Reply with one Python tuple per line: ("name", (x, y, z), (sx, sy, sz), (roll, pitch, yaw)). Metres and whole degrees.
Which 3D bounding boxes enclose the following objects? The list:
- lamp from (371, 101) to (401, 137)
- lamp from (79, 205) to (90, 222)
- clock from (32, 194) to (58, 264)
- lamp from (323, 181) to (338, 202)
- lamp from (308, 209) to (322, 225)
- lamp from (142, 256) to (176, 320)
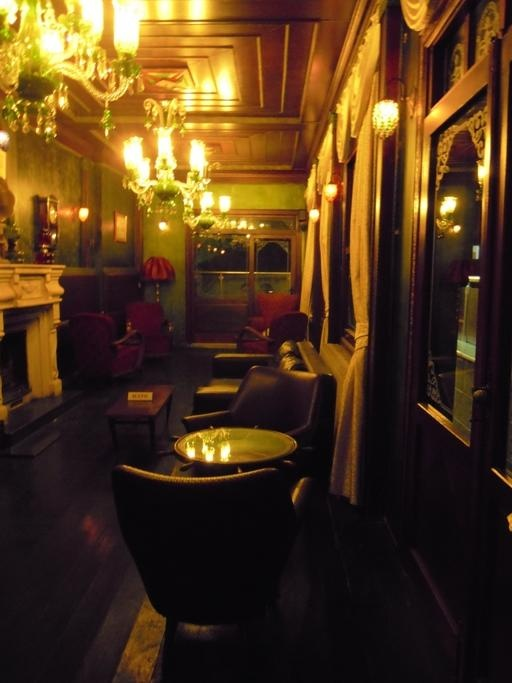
("lamp", (0.590, -1.026, 2.289), (0.106, 0.184, 0.202), (1, 6, 14))
("lamp", (-2.562, -1.888, 7.352), (0.150, 0.235, 0.365), (-2, 6, -16))
("clock", (-2.509, -1.342, 5.871), (0.268, 0.842, 0.617), (-2, 6, -21))
("lamp", (0.700, -1.383, 4.665), (0.135, 0.256, 0.162), (1, -2, 4))
("lamp", (0.728, -1.568, 6.219), (0.149, 0.293, 0.170), (0, 12, 11))
("lamp", (-1.870, -1.145, 9.576), (0.718, 1.389, 0.811), (-3, 9, -16))
